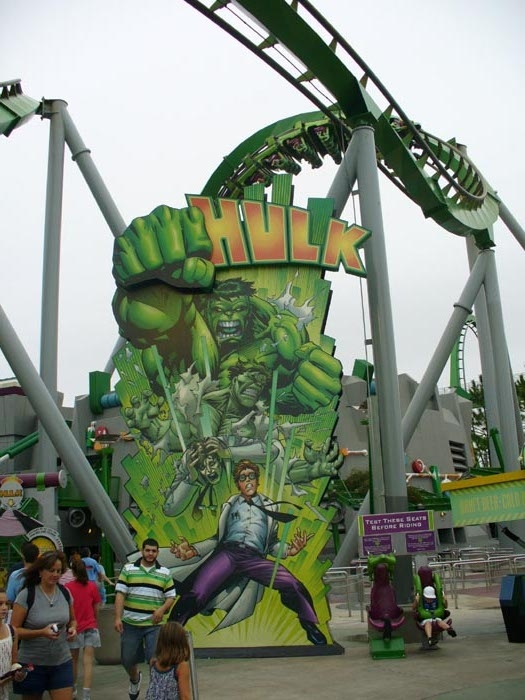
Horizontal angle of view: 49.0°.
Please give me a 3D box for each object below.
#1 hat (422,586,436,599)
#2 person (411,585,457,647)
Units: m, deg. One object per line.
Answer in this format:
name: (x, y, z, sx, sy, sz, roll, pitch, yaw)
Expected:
hat: (2.525, 3.690, 8.756, 0.149, 0.094, 0.174, 0, -10, 3)
person: (2.564, 4.035, 8.682, 0.479, 0.870, 0.523, -6, -16, 11)
